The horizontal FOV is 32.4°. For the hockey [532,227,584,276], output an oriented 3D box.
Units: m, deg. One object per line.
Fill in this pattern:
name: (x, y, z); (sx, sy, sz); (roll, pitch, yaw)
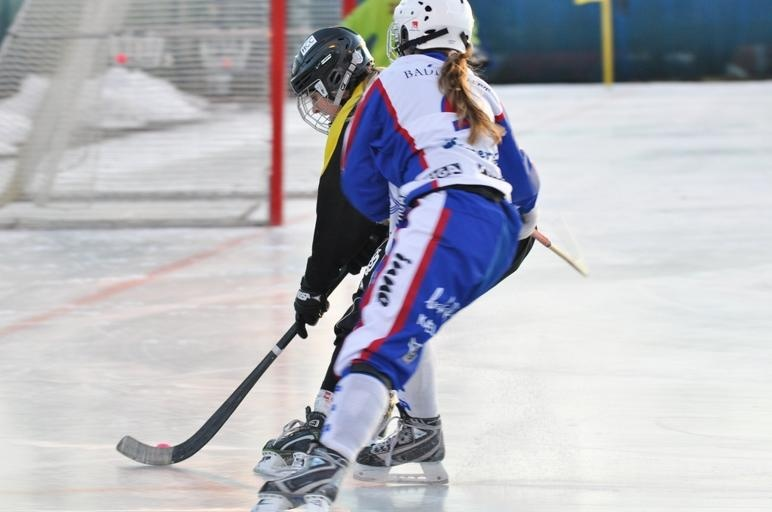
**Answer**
hockey: (1.086, -0.015, 8.265); (0.972, 0.073, 0.069); (25, 23, -53)

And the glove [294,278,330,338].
glove: (-0.363, 0.250, 6.365); (0.250, 0.246, 0.120); (8, 35, -11)

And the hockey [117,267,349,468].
hockey: (-0.776, 0.604, 6.805); (1.374, 0.215, 0.207); (-40, 33, -20)
